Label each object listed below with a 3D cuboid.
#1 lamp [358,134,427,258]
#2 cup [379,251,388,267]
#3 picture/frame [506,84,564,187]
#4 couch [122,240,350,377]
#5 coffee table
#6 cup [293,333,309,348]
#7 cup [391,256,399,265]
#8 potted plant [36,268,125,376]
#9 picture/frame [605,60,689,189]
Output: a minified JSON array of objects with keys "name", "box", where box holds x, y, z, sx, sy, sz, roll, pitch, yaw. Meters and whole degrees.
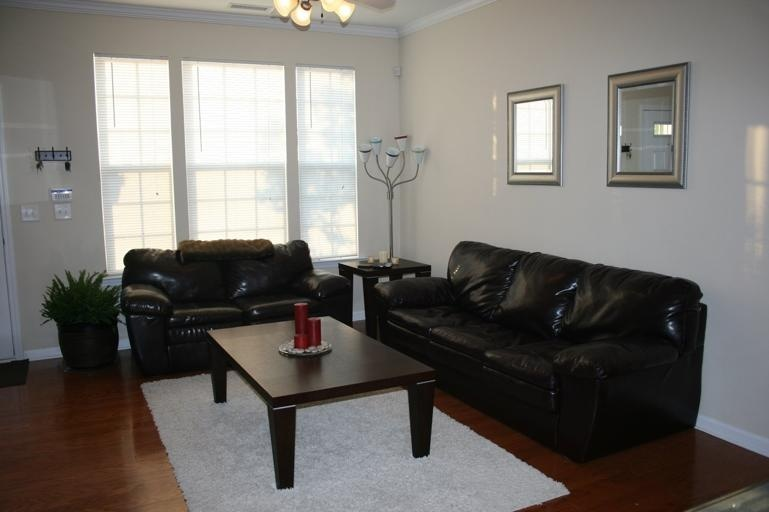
[{"name":"lamp","box":[0.112,-0.706,6.947,0.778,1.478,0.639,-5,9,-10]},{"name":"cup","box":[-0.012,0.044,6.334,0.134,0.148,0.133,1,4,0]},{"name":"picture/frame","box":[1.425,-1.123,5.474,0.079,0.931,0.706,-12,15,-32]},{"name":"couch","box":[-1.585,0.465,6.086,2.211,1.108,1.080,-4,12,-31]},{"name":"coffee table","box":[-0.381,0.838,4.094,1.024,0.466,1.468,-5,12,-27]},{"name":"cup","box":[-0.640,0.656,4.422,0.102,0.107,0.101,-1,9,0]},{"name":"cup","box":[0.119,0.057,6.357,0.075,0.054,0.074,0,3,0]},{"name":"potted plant","box":[-3.086,0.624,5.694,0.722,0.874,0.639,1,-8,-45]},{"name":"picture/frame","box":[2.095,-0.989,4.586,0.102,0.942,0.695,-14,15,-36]}]
